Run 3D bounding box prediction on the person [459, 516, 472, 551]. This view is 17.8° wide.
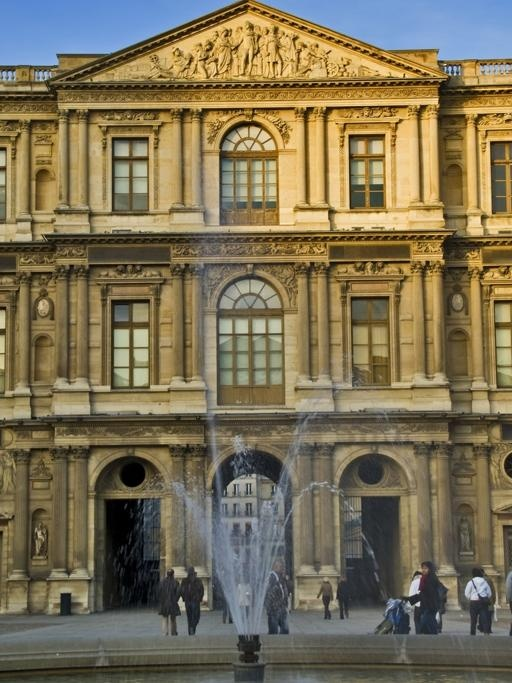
[{"bbox_3d":[5.968,5.498,46.334,0.394,1.060,0.105,-2,-10,0],"label":"person"}]

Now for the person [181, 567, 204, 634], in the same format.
[{"bbox_3d":[-1.402,5.979,37.261,0.461,1.373,1.349,-1,-10,-2],"label":"person"}]

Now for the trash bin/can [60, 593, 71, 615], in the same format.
[{"bbox_3d":[-5.102,7.182,44.628,0.312,0.638,0.560,0,-10,-7],"label":"trash bin/can"}]

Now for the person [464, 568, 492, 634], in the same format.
[{"bbox_3d":[5.004,5.794,36.478,0.559,1.478,2.183,-3,-11,8],"label":"person"}]

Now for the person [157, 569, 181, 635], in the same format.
[{"bbox_3d":[-1.879,5.893,36.941,0.441,1.466,1.200,-1,-10,-3],"label":"person"}]

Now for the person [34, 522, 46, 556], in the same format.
[{"bbox_3d":[-5.992,5.621,46.101,0.409,0.981,0.161,-3,-10,9],"label":"person"}]
